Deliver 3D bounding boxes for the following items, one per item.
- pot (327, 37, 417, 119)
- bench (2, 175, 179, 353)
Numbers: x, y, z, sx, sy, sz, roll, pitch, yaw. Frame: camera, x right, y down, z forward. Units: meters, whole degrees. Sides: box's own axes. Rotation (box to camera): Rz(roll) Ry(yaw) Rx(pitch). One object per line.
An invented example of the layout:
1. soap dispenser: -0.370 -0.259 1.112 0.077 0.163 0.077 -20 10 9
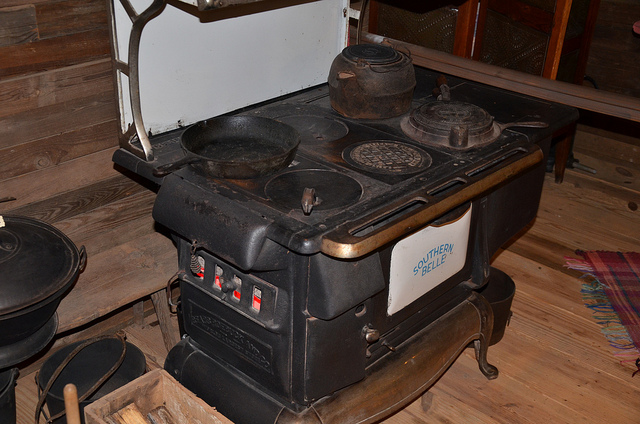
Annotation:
1. pot: 0.245 -0.673 2.391 0.433 0.286 0.483 24 45 26
2. bench: -1.128 0.216 2.319 0.822 0.561 0.472 -33 59 -32
